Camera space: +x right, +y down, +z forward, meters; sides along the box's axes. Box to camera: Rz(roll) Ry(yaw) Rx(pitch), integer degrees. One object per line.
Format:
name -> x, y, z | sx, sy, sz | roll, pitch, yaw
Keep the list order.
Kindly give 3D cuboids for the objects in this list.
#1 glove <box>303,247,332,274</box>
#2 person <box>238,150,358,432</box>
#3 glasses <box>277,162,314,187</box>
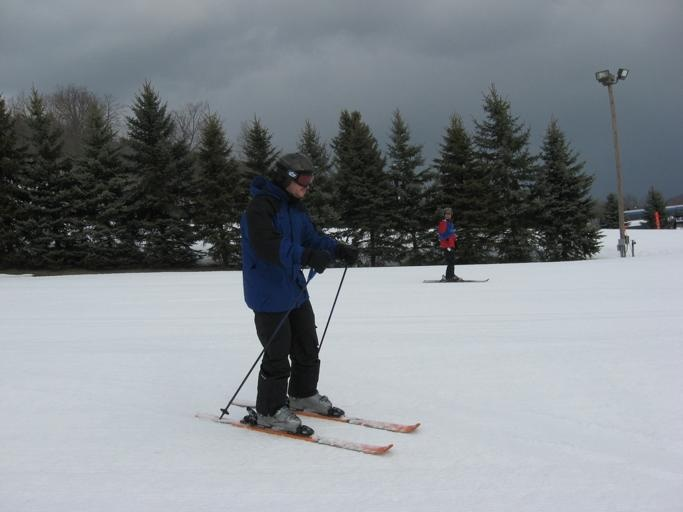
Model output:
glove -> -0.206, 0.034, 6.489 | 0.201, 0.097, 0.222 | -9, 48, -24
person -> -0.462, 0.318, 6.811 | 0.846, 2.512, 0.777 | 3, 7, 33
glasses -> -0.444, -0.745, 6.732 | 0.254, 0.153, 0.212 | 0, 9, 1
